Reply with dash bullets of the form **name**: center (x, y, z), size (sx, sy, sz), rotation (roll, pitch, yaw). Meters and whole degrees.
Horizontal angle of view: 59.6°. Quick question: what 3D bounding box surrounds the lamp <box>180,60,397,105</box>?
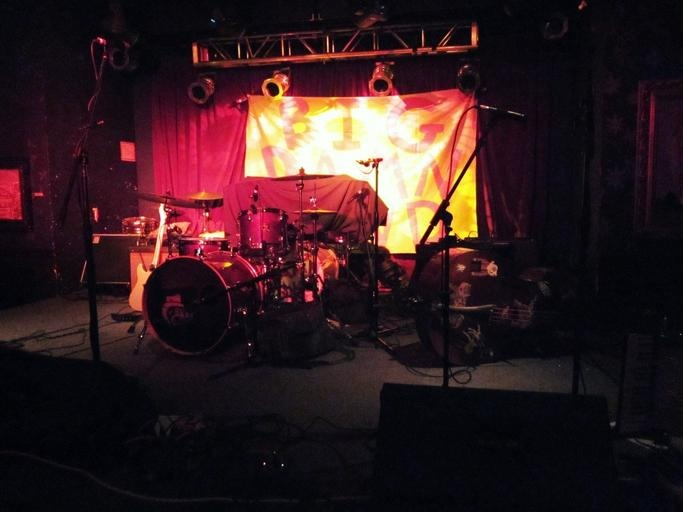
- **lamp**: center (-0.538, -2.108, 7.258), size (2.138, 0.426, 0.499), rotation (0, 36, 10)

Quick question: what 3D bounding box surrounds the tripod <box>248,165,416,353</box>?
- **tripod**: center (0.014, -0.138, 6.274), size (1.687, 2.214, 1.641), rotation (2, 6, 26)

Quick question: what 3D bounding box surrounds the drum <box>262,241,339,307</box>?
- **drum**: center (-0.396, 0.142, 5.655), size (0.420, 0.497, 1.274), rotation (2, 2, 14)

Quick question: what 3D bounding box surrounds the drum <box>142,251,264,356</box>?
- **drum**: center (-1.185, 0.406, 5.057), size (0.888, 0.873, 0.459), rotation (3, 2, 16)

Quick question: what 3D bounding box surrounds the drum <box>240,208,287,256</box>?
- **drum**: center (-0.704, -0.222, 5.308), size (0.400, 0.298, 0.406), rotation (0, 3, 0)

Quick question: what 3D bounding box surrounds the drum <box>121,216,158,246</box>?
- **drum**: center (-2.391, -0.327, 6.932), size (0.381, 0.286, 0.389), rotation (1, 2, 0)
